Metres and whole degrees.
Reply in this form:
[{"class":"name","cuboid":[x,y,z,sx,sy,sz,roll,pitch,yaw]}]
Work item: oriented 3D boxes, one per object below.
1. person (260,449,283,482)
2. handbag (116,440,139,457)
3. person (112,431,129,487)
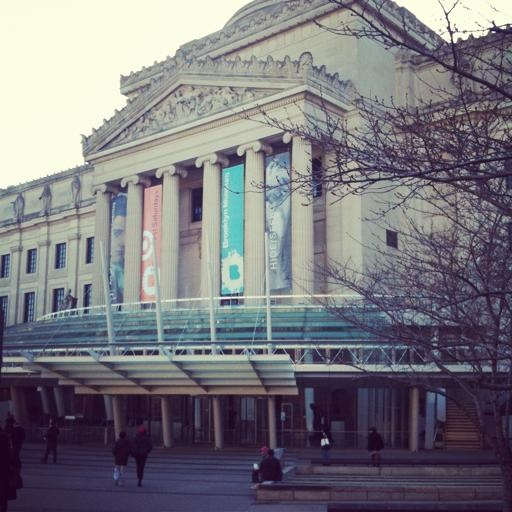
[{"class":"person","cuboid":[0.427,5.977,23.251,0.606,1.059,0.597,-1,17,-3]},{"class":"handbag","cuboid":[-3.928,5.850,24.365,0.605,0.697,0.396,1,-18,-6]},{"class":"person","cuboid":[-4.265,6.353,25.263,0.502,1.724,2.725,0,-16,-10]}]
